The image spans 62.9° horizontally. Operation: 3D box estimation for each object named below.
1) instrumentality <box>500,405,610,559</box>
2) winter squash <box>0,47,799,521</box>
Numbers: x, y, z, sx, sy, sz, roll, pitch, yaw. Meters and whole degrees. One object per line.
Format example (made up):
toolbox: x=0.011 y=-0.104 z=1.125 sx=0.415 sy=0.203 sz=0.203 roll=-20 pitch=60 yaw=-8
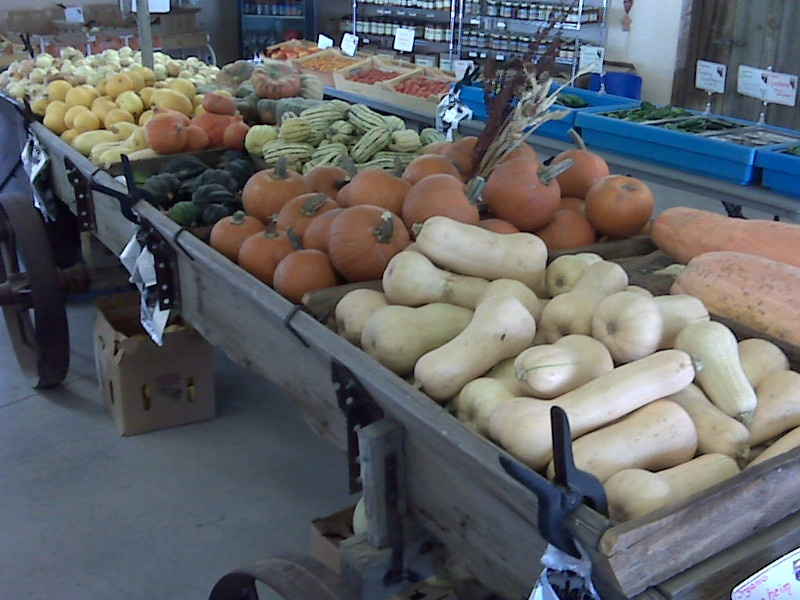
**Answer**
instrumentality: x=0.240 y=0.277 z=0.951 sx=0.166 sy=0.265 sz=0.033 roll=-24 pitch=28 yaw=-16
winter squash: x=-0.033 y=-0.119 z=1.702 sx=1.189 sy=0.395 sz=1.830 roll=-20 pitch=37 yaw=-36
